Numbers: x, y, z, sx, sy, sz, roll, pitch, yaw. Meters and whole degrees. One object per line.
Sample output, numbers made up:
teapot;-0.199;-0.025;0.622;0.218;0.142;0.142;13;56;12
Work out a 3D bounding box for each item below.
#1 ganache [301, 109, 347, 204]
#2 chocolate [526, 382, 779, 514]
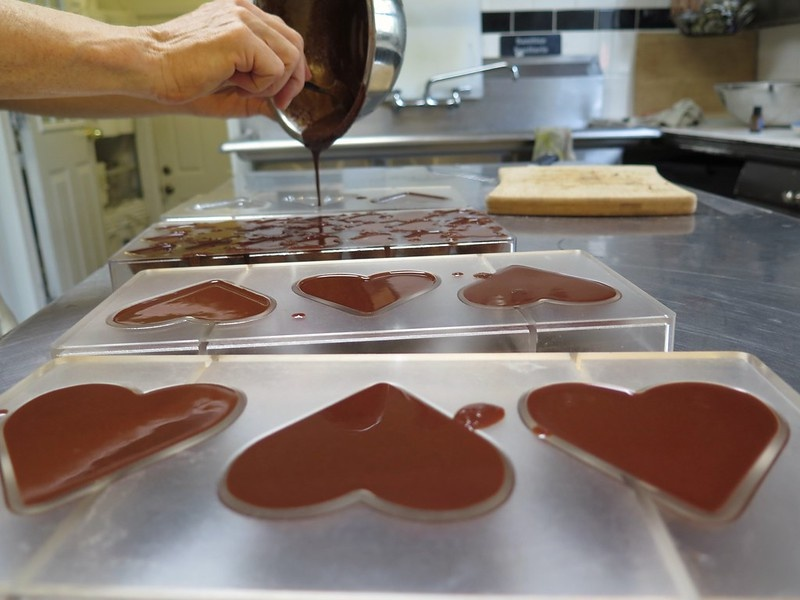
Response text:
ganache;-0.129;-0.260;1.105;0.094;0.142;0.071;-4;20;-21
chocolate;0.214;0.103;0.522;0.163;0.029;0.183;-17;25;-39
